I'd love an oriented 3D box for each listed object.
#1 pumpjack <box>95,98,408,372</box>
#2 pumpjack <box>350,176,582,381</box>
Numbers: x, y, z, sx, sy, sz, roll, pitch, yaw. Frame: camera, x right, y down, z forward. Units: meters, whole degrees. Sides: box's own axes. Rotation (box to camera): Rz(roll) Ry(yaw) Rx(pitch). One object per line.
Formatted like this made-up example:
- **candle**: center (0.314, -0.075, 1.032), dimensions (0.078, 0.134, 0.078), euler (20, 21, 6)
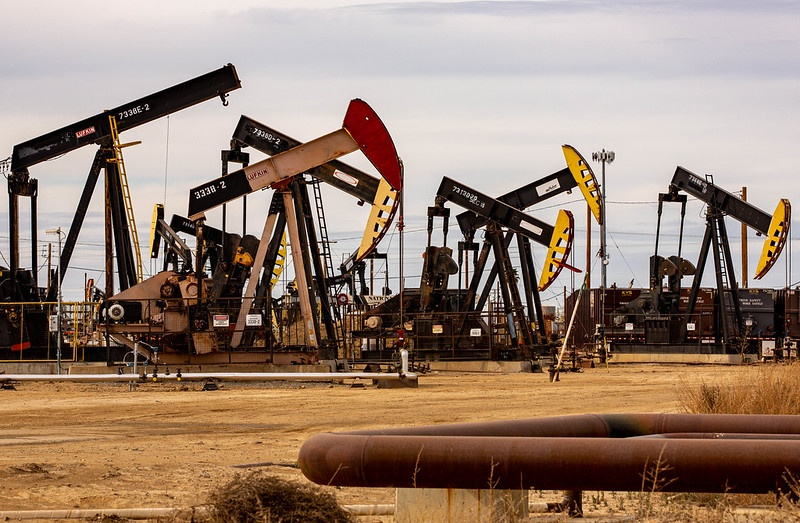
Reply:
- **pumpjack**: center (-4.885, -0.674, 43.654), dimensions (8.834, 7.835, 7.621), euler (1, -6, -16)
- **pumpjack**: center (2.195, 0.354, 50.809), dimensions (10.249, 7.223, 3.035), euler (-5, -14, 42)
